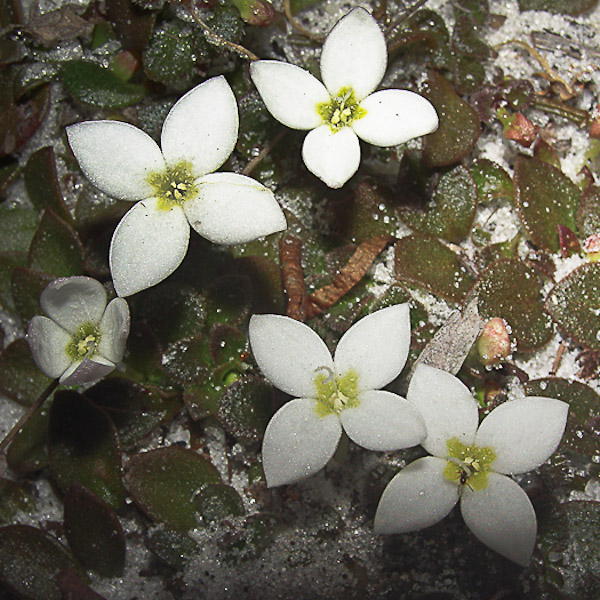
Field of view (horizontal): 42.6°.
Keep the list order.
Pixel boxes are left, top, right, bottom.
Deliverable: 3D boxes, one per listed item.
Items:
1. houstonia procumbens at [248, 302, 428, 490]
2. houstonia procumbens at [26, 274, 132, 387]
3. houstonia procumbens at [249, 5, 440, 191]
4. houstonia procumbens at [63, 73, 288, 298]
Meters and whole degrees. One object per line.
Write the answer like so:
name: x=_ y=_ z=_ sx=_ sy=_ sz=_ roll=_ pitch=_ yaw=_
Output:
houstonia procumbens: x=0.041 y=0.126 z=0.998 sx=0.201 sy=0.187 sz=0.181 roll=-5 pitch=55 yaw=-11
houstonia procumbens: x=-0.280 y=0.049 z=0.982 sx=0.121 sy=0.140 sz=0.102 roll=-20 pitch=59 yaw=-20
houstonia procumbens: x=0.056 y=-0.249 z=1.034 sx=0.168 sy=0.206 sz=0.210 roll=-29 pitch=63 yaw=-25
houstonia procumbens: x=-0.156 y=-0.142 z=0.976 sx=0.232 sy=0.157 sz=0.197 roll=-13 pitch=57 yaw=-16
